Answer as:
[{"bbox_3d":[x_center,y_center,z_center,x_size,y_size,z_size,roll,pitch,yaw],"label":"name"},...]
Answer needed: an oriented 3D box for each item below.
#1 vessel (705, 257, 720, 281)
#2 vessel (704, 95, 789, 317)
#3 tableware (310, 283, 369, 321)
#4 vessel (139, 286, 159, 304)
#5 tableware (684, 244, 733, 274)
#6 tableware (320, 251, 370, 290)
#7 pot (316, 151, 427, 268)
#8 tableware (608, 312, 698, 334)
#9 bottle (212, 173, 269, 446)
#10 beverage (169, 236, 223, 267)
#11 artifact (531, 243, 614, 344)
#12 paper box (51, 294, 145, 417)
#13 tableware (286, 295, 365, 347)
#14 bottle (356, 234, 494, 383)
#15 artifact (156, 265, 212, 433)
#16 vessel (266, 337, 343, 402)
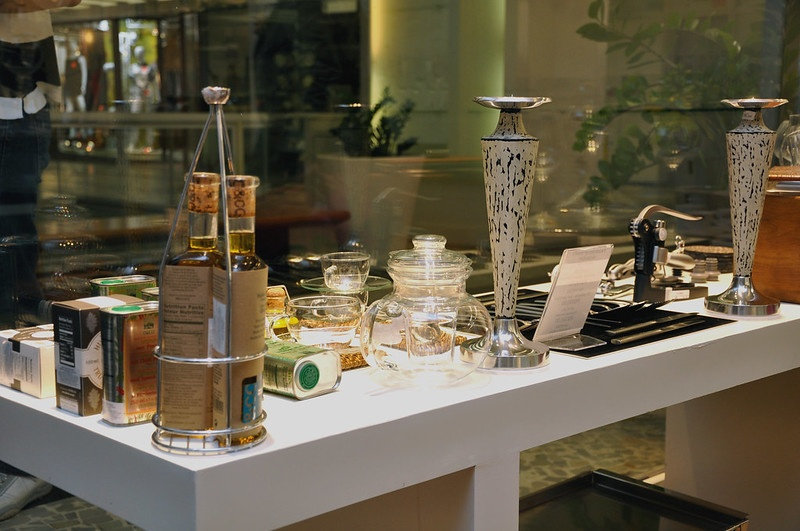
[{"bbox_3d":[1.075,0.015,2.595,0.068,0.065,0.069,-1,-3,12],"label":"vessel"},{"bbox_3d":[1.011,-0.172,2.197,0.223,0.608,0.225,8,11,41],"label":"vessel"},{"bbox_3d":[-0.156,0.090,1.887,0.087,0.095,0.088,1,-1,5],"label":"tableware"},{"bbox_3d":[-0.502,0.057,1.513,0.036,0.016,0.049,-13,25,-32],"label":"vessel"},{"bbox_3d":[1.183,-0.048,2.863,0.137,0.050,0.143,4,9,28],"label":"tableware"},{"bbox_3d":[-0.141,0.019,1.904,0.132,0.094,0.135,2,6,-4],"label":"tableware"},{"bbox_3d":[-0.064,-0.181,2.327,0.326,0.469,0.299,0,7,0],"label":"pot"},{"bbox_3d":[0.678,0.155,2.000,0.361,0.022,0.094,-6,16,-42],"label":"tableware"},{"bbox_3d":[-0.279,0.068,1.324,0.076,0.441,0.128,8,16,35],"label":"bottle"},{"bbox_3d":[-0.363,-0.031,1.342,0.062,0.038,0.061,-3,7,-40],"label":"beverage"},{"bbox_3d":[0.437,0.082,1.891,0.132,0.248,0.248,5,-7,-15],"label":"artifact"},{"bbox_3d":[-0.567,0.175,1.420,0.069,0.209,0.203,3,7,21],"label":"paper box"},{"bbox_3d":[-0.168,0.101,1.654,0.125,0.089,0.128,-2,6,-19],"label":"tableware"},{"bbox_3d":[0.047,0.088,1.632,0.271,0.299,0.281,3,-1,-26],"label":"bottle"},{"bbox_3d":[-0.378,0.145,1.322,0.097,0.284,0.054,0,13,5],"label":"artifact"},{"bbox_3d":[-0.201,0.215,1.566,0.147,0.062,0.106,2,1,42],"label":"vessel"}]
